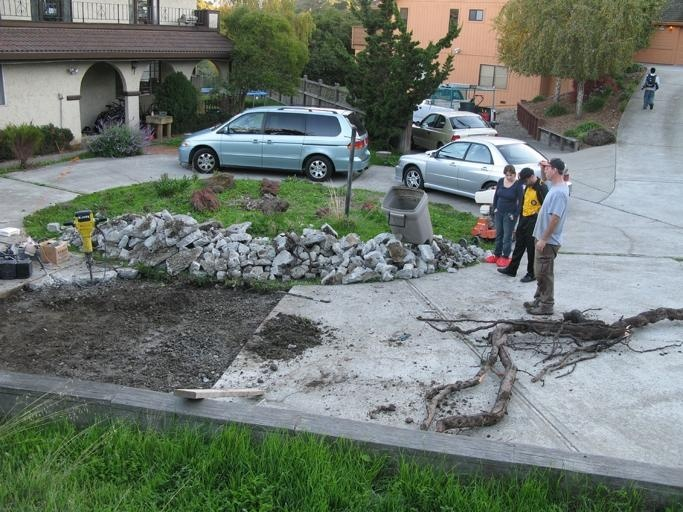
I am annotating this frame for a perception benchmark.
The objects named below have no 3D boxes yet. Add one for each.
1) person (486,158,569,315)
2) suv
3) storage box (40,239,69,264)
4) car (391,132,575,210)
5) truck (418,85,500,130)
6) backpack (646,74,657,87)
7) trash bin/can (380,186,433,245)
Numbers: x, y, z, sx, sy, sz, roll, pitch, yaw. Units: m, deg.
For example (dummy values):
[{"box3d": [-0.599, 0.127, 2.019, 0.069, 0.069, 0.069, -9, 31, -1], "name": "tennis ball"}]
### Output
[{"box3d": [2.948, -0.273, 7.939, 0.408, 2.151, 0.632, 8, 18, 20], "name": "person"}, {"box3d": [-2.002, -3.423, 16.946, 5.435, 1.970, 2.379, 5, 15, 8], "name": "suv"}, {"box3d": [-4.907, -0.071, 9.565, 0.387, 0.405, 0.295, 6, 4, 6], "name": "storage box"}, {"box3d": [3.365, -2.195, 14.936, 2.095, 1.667, 4.837, -18, 28, -41], "name": "car"}, {"box3d": [5.522, -7.228, 27.146, 1.874, 2.102, 3.598, -7, 23, -36], "name": "truck"}, {"box3d": [13.597, -7.676, 24.508, 0.408, 0.581, 0.550, 5, 8, 30], "name": "backpack"}, {"box3d": [1.204, -0.737, 9.872, 0.865, 1.102, 0.949, 7, 16, 8], "name": "trash bin/can"}]
